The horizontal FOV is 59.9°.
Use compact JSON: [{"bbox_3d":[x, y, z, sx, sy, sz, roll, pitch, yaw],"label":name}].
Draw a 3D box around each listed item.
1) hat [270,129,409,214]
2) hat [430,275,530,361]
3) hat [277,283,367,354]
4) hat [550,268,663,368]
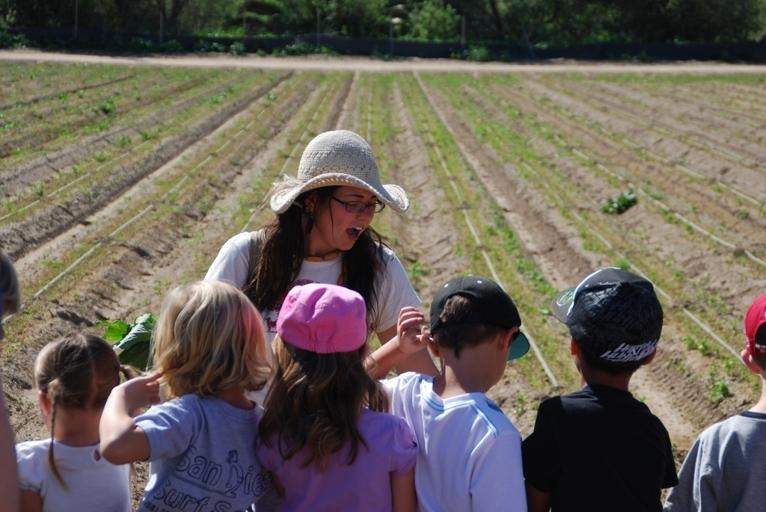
[{"bbox_3d":[-0.374,-0.614,4.897,0.727,0.459,0.658,-2,2,0],"label":"hat"},{"bbox_3d":[0.713,0.458,4.448,0.663,0.381,0.502,24,-4,-38],"label":"hat"},{"bbox_3d":[-0.391,0.364,4.423,0.589,0.361,0.658,-2,15,-21],"label":"hat"},{"bbox_3d":[1.501,0.309,4.456,0.560,0.450,0.845,-5,37,1],"label":"hat"}]
